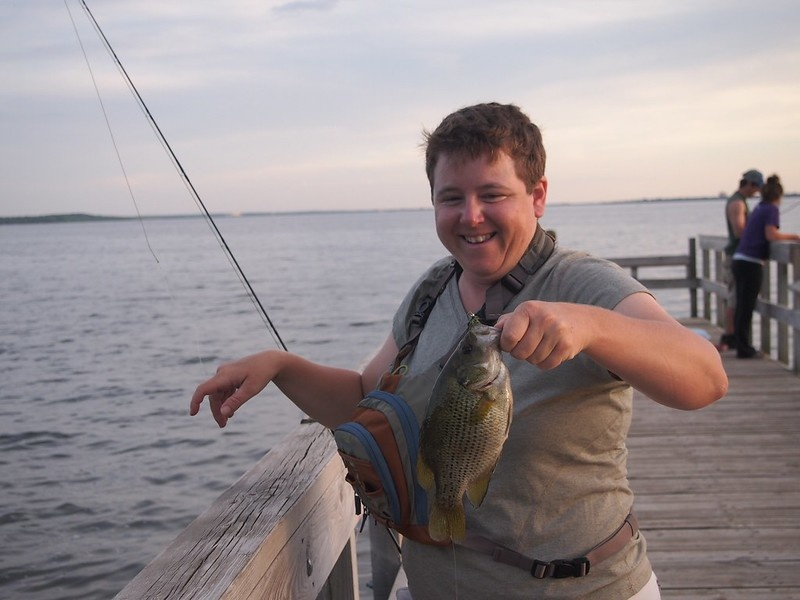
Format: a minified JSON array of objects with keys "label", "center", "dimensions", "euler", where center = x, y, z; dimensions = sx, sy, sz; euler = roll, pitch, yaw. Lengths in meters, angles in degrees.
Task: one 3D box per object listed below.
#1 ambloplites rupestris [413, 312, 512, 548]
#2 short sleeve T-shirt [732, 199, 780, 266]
[{"label":"ambloplites rupestris","center":[0.260,0.550,3.430],"dimensions":[0.416,0.906,0.210],"euler":[-11,18,-5]},{"label":"short sleeve T-shirt","center":[3.682,-0.682,8.714],"dimensions":[0.445,0.617,0.192],"euler":[-2,19,19]}]
